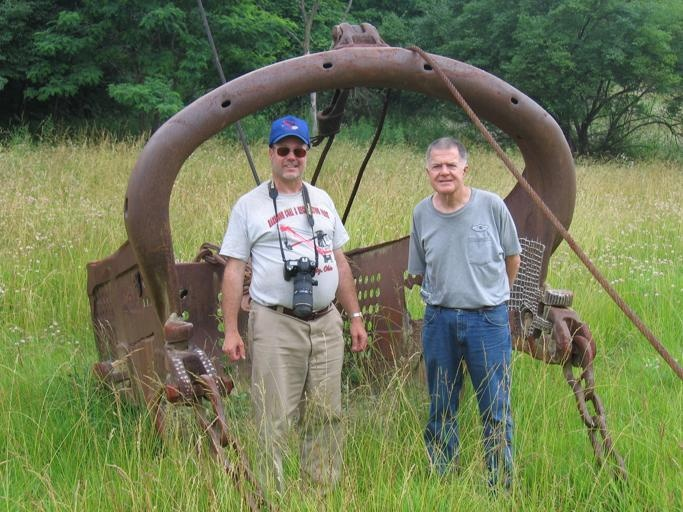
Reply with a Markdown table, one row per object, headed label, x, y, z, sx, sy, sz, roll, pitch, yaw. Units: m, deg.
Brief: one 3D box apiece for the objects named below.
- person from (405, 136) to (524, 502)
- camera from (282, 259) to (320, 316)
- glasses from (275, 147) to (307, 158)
| label | x | y | z | sx | sy | sz | roll | pitch | yaw |
| --- | --- | --- | --- | --- | --- | --- | --- | --- | --- |
| person | 1.005 | 0.499 | 6.030 | 0.761 | 3.100 | 0.879 | 2 | 20 | 17 |
| camera | -0.327 | 0.257 | 5.689 | 0.228 | 0.215 | 0.496 | 6 | 53 | -18 |
| glasses | -0.414 | -0.823 | 5.786 | 0.267 | 0.105 | 0.074 | -2 | 9 | -10 |
